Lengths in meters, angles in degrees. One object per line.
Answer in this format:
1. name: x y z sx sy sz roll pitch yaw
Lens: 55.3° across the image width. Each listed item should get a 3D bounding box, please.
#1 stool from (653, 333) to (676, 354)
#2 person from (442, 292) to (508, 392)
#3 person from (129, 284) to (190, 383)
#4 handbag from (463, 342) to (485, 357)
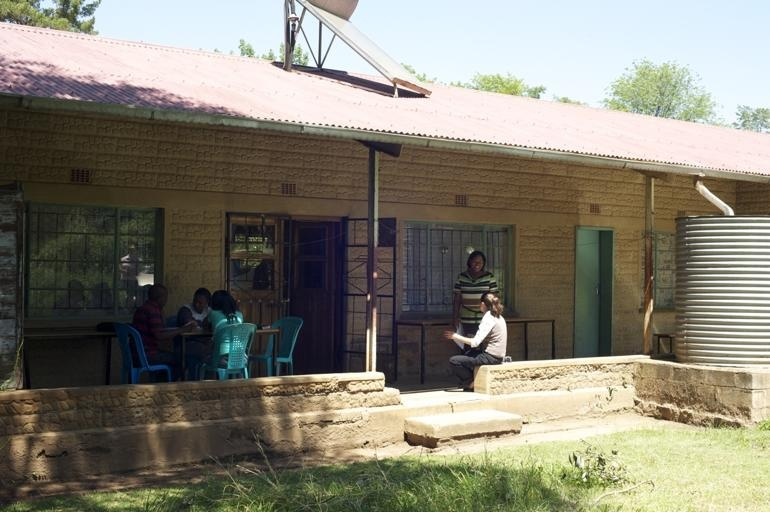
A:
1. stool: 5.900 1.840 15.596 0.615 0.291 0.377 -1 5 -25
2. person: 1.538 1.438 12.096 0.889 1.591 0.541 1 12 6
3. person: -3.315 1.309 11.064 0.952 1.684 0.820 0 -3 -39
4. handbag: 1.518 1.555 12.273 0.246 0.223 0.068 1 -13 32
